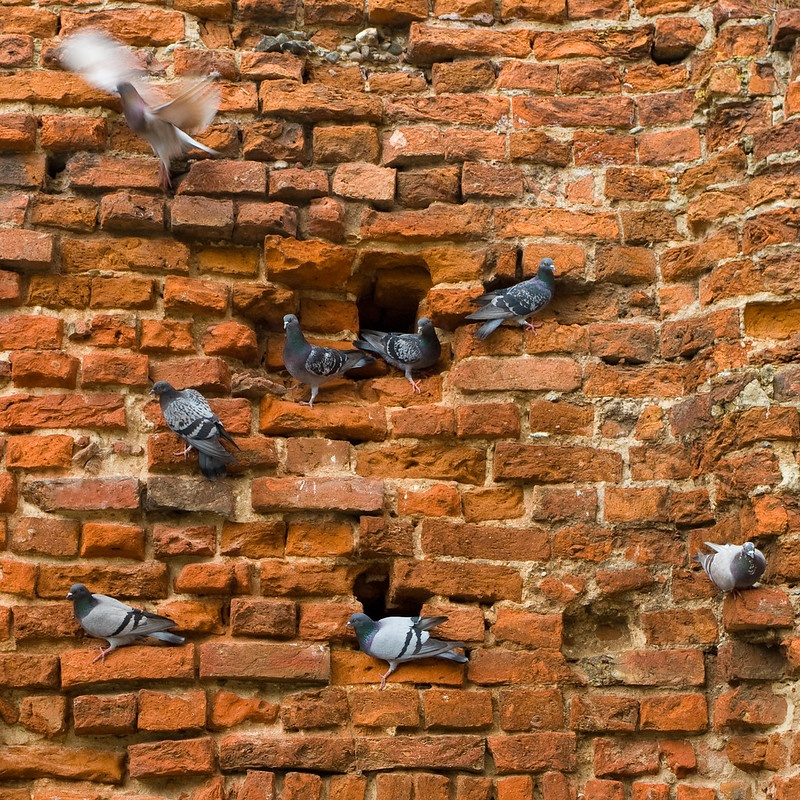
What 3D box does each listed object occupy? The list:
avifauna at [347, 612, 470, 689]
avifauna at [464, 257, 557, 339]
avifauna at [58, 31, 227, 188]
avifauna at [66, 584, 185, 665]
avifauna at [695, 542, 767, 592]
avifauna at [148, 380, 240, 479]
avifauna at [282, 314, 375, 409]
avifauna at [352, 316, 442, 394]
[{"bbox_3d":[0.016,0.686,5.396,0.345,0.191,0.120,-4,17,-11],"label":"avifauna"},{"bbox_3d":[0.325,-0.298,5.667,0.298,0.213,0.120,-9,23,-16],"label":"avifauna"},{"bbox_3d":[-0.725,-0.826,5.734,0.631,0.316,0.370,7,9,40],"label":"avifauna"},{"bbox_3d":[-0.790,0.618,5.333,0.348,0.188,0.114,2,5,-23],"label":"avifauna"},{"bbox_3d":[0.913,0.448,5.290,0.109,0.122,0.186,-25,35,-21],"label":"avifauna"},{"bbox_3d":[-0.603,0.083,5.488,0.296,0.206,0.143,33,42,20],"label":"avifauna"},{"bbox_3d":[-0.225,-0.129,5.711,0.332,0.268,0.155,-7,17,-35],"label":"avifauna"},{"bbox_3d":[-0.009,-0.155,5.759,0.274,0.194,0.125,9,23,18],"label":"avifauna"}]
